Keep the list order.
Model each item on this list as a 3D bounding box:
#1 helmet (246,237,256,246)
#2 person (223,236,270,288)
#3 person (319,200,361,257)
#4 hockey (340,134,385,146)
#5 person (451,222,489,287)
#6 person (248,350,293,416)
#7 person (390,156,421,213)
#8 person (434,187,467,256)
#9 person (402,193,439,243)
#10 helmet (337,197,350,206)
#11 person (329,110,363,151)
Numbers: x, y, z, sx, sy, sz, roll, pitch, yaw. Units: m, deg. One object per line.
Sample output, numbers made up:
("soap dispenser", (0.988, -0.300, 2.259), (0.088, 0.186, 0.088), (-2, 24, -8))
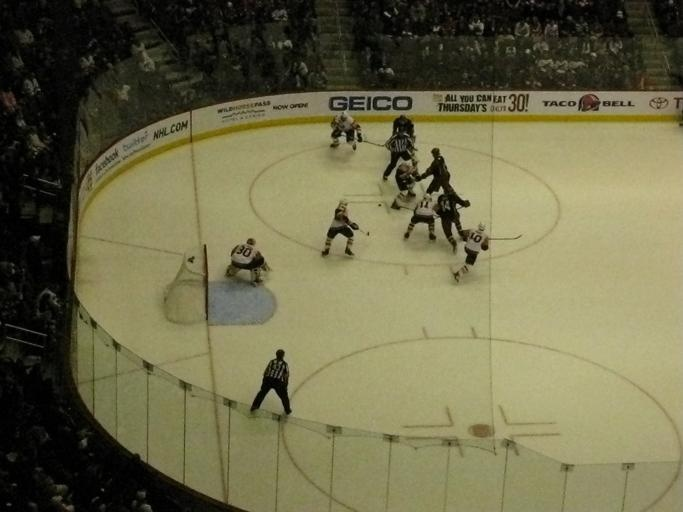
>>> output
("helmet", (-1.850, -0.280, 23.463), (0.182, 0.118, 0.174), (2, 15, -11))
("person", (-1.920, 0.061, 23.631), (0.852, 1.071, 1.132), (15, 1, 20))
("person", (-0.073, -0.647, 24.645), (0.782, 1.359, 1.137), (-8, 22, 0))
("hockey", (0.504, -2.958, 29.391), (1.147, 0.192, 0.140), (14, -37, -42))
("person", (2.687, -0.210, 24.251), (0.822, 1.235, 1.278), (-6, 22, 5))
("person", (-1.241, 2.330, 20.216), (0.684, 1.287, 1.346), (-8, 22, 2))
("person", (1.501, -1.634, 26.927), (0.621, 1.265, 0.703), (27, 61, 20))
("person", (2.474, -0.807, 25.140), (0.816, 1.296, 0.392), (-10, 6, 17))
("person", (1.784, -0.848, 25.034), (0.828, 1.492, 0.469), (-8, 56, -6))
("helmet", (0.039, -1.198, 25.554), (0.200, 0.240, 0.339), (2, -5, -25))
("person", (0.136, -3.136, 28.814), (0.954, 1.191, 0.619), (14, 48, 12))
